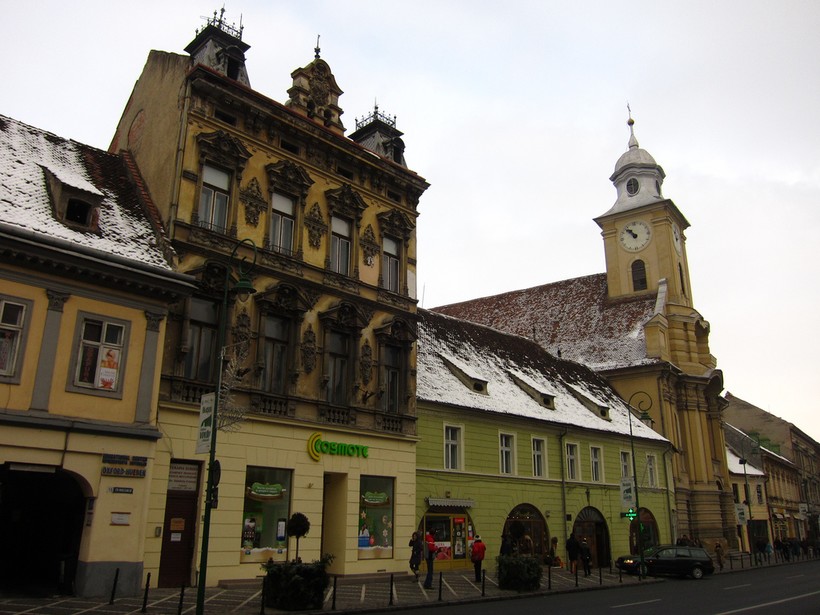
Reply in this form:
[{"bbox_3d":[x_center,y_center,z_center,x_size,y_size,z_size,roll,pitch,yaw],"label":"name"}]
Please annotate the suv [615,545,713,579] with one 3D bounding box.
[{"bbox_3d":[13.946,13.829,35.549,4.583,1.588,3.447,-5,-21,15],"label":"suv"}]
